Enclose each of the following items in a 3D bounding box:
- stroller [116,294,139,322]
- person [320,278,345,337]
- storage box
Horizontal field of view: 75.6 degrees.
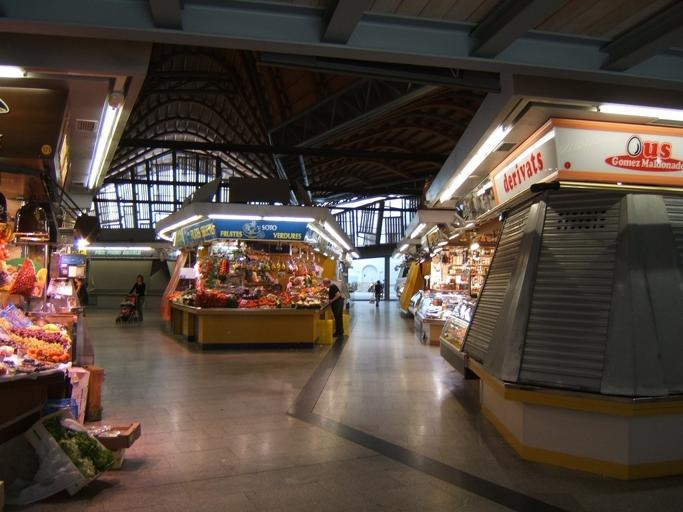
[{"bbox_3d":[-7.008,1.757,14.550,0.639,0.882,0.869,3,-4,-26],"label":"stroller"},{"bbox_3d":[-0.185,1.323,11.402,0.744,1.443,0.746,-9,-7,7],"label":"person"},{"bbox_3d":[-2.034,1.494,3.410,0.449,0.237,0.628,-6,5,-9],"label":"storage box"}]
